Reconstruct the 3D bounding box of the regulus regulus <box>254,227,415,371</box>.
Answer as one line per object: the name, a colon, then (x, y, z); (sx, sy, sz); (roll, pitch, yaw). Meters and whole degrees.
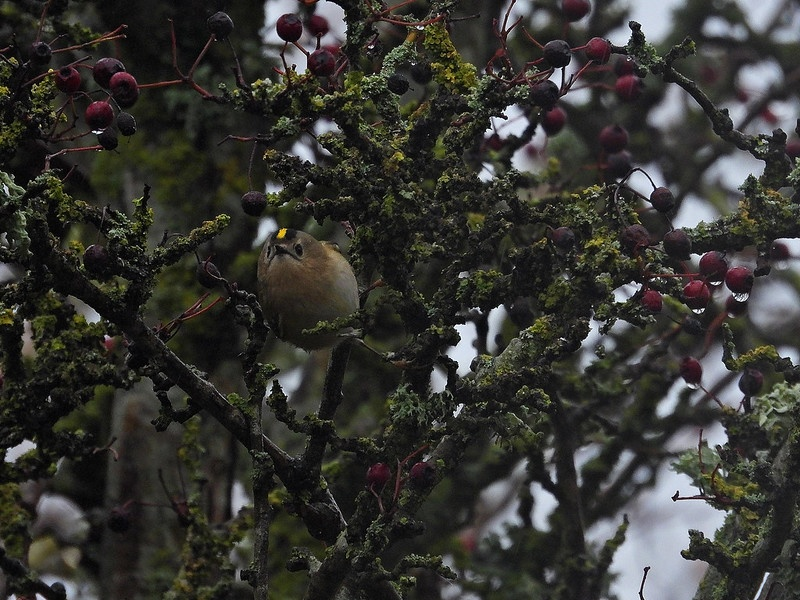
regulus regulus: (-0.469, -0.075, 9.389); (0.564, 1.021, 0.778); (-3, -92, 22)
